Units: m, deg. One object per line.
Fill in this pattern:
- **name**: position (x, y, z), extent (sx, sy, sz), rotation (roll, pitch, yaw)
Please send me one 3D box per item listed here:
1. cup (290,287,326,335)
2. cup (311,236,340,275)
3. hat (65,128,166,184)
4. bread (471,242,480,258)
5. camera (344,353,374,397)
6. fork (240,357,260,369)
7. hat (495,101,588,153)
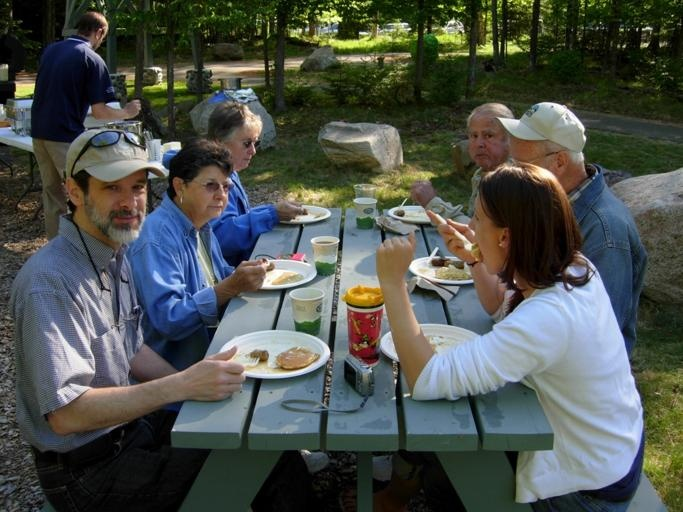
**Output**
- **cup**: position (-0.161, 0.269, 2.597), extent (0.214, 0.226, 0.217), rotation (1, 9, 0)
- **cup**: position (-0.094, -0.007, 3.404), extent (0.230, 0.228, 0.227), rotation (0, 11, 0)
- **hat**: position (-1.088, -0.494, 2.521), extent (0.397, 0.197, 0.279), rotation (1, 9, 22)
- **bread**: position (0.642, -0.029, 2.495), extent (0.044, 0.053, 0.055), rotation (8, 26, 29)
- **camera**: position (0.070, 0.514, 2.250), extent (0.059, 0.105, 0.179), rotation (-4, 14, -25)
- **fork**: position (-0.414, 0.492, 2.352), extent (0.045, 0.022, 0.060), rotation (6, 11, -2)
- **hat**: position (1.171, -0.730, 3.032), extent (0.426, 0.182, 0.284), rotation (16, 21, -4)
